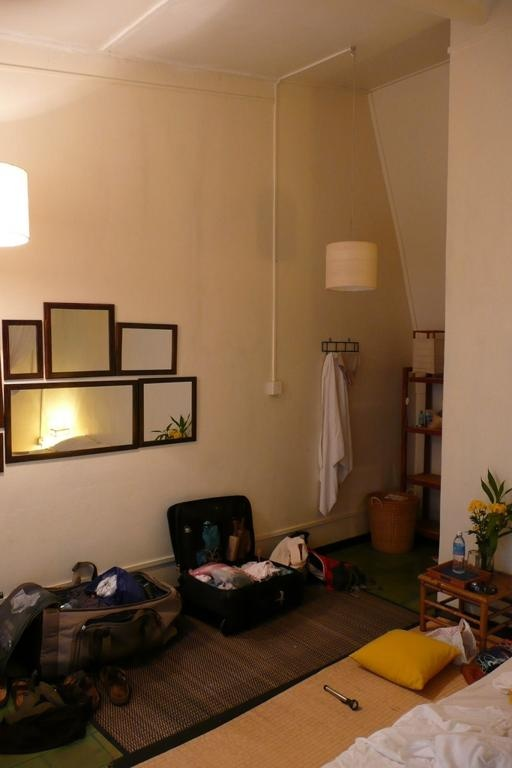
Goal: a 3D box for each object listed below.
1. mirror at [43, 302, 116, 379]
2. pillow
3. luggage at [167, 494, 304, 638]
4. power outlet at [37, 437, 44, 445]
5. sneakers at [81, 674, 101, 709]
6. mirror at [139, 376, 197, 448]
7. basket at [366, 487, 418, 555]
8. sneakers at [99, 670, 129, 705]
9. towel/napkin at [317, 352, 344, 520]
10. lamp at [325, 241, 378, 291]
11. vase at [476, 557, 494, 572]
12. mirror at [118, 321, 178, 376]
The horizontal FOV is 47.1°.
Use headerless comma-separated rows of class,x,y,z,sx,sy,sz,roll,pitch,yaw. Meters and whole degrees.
mirror,-1.020,-0.250,3.391,0.395,0.425,0.031,-3,6,-33
pillow,0.736,1.334,2.918,0.357,0.189,0.412,-1,-1,-42
luggage,-0.113,1.121,3.858,0.769,0.805,0.703,-1,-2,-42
power outlet,-1.204,0.319,3.271,0.009,0.047,0.030,-2,-1,39
sneakers,-0.757,1.386,2.686,0.051,0.060,0.152,11,35,-41
mirror,-0.592,0.175,3.814,0.448,0.482,0.032,-3,3,-44
basket,1.225,1.195,5.171,0.444,0.500,0.411,0,1,36
sneakers,-0.662,1.416,2.755,0.066,0.079,0.194,-2,9,-21
towel/napkin,0.594,0.407,4.742,0.201,0.957,0.120,-1,-1,9
lamp,0.655,-0.756,3.875,0.310,0.246,0.309,-1,1,-26
vase,1.325,1.020,3.365,0.087,0.087,0.076,2,-1,-31
mirror,-0.688,-0.208,3.714,0.392,0.332,0.025,3,11,8
